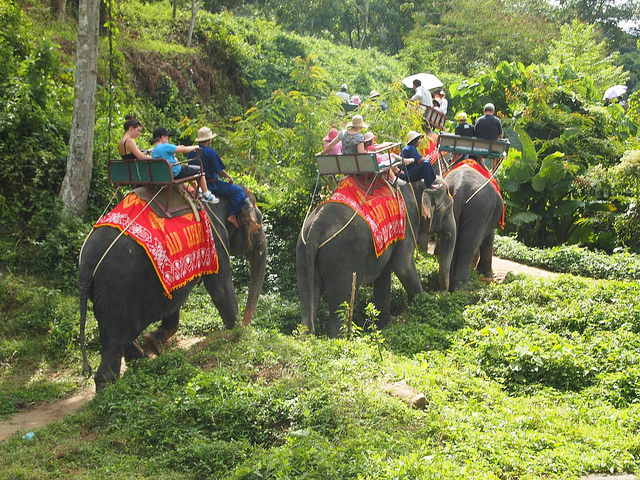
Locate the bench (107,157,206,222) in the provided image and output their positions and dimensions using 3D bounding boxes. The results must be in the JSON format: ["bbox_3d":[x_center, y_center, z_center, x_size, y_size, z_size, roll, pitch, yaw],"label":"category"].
[{"bbox_3d":[-2.484,-0.919,12.412,1.075,1.100,1.296,6,16,36],"label":"bench"}]

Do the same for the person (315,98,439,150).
[{"bbox_3d":[1.084,-2.206,16.048,0.740,1.399,0.333,33,-5,36],"label":"person"}]

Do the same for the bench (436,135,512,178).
[{"bbox_3d":[2.860,-1.522,15.652,0.987,0.866,0.828,1,8,13],"label":"bench"}]

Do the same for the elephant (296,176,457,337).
[{"bbox_3d":[1.197,0.215,14.459,1.473,2.579,3.948,11,17,42],"label":"elephant"}]

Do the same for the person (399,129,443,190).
[{"bbox_3d":[1.652,-1.391,14.690,0.599,1.164,0.633,-1,16,-15],"label":"person"}]

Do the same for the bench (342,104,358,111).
[{"bbox_3d":[0.686,-3.169,19.893,0.162,0.084,0.227,-2,0,-45],"label":"bench"}]

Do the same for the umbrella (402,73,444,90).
[{"bbox_3d":[2.906,-4.477,23.445,0.993,0.359,1.051,4,5,1],"label":"umbrella"}]

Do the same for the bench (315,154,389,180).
[{"bbox_3d":[0.442,-1.204,13.269,0.989,0.381,0.316,4,8,2],"label":"bench"}]
